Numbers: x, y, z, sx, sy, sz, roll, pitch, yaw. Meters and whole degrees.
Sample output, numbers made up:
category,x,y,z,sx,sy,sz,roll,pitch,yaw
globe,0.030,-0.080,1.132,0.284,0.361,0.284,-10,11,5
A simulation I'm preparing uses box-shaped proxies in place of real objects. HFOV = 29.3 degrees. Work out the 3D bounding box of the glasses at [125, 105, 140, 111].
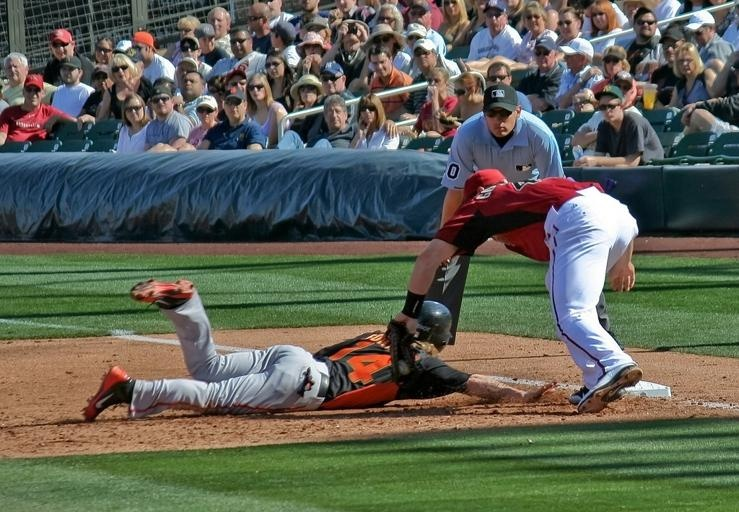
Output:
category,x,y,z,sx,sy,sz,roll,pitch,yaw
glasses,-3.402,-2.106,20.047,0.100,0.089,0.032,-3,17,8

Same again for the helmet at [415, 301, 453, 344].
category,x,y,z,sx,sy,sz,roll,pitch,yaw
helmet,0.492,0.529,11.362,0.278,0.269,0.360,24,15,19

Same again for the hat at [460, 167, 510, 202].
category,x,y,z,sx,sy,sz,roll,pitch,yaw
hat,0.863,-0.553,10.872,0.376,0.223,0.440,-3,4,13

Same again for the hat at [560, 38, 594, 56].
category,x,y,z,sx,sy,sz,roll,pitch,yaw
hat,2.716,-2.751,18.499,0.386,0.189,0.250,9,0,-10

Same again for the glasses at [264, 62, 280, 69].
category,x,y,z,sx,sy,sz,roll,pitch,yaw
glasses,-1.420,-2.680,19.828,0.238,0.093,0.184,3,5,28

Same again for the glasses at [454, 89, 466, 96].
category,x,y,z,sx,sy,sz,roll,pitch,yaw
glasses,1.072,-1.985,17.084,0.135,0.034,0.118,9,5,-5

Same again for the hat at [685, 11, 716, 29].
category,x,y,z,sx,sy,sz,roll,pitch,yaw
hat,4.194,-3.041,18.119,0.469,0.212,0.297,-6,2,-40

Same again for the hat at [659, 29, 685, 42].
category,x,y,z,sx,sy,sz,roll,pitch,yaw
hat,3.842,-2.812,17.881,0.350,0.204,0.226,-1,5,-18

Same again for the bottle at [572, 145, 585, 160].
category,x,y,z,sx,sy,sz,roll,pitch,yaw
bottle,2.489,-1.268,17.115,0.142,0.206,0.115,-10,-10,34

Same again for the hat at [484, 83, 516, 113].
category,x,y,z,sx,sy,sz,roll,pitch,yaw
hat,1.103,-1.347,12.020,0.284,0.231,0.213,0,5,4

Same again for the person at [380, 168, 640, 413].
category,x,y,z,sx,sy,sz,roll,pitch,yaw
person,1.192,0.278,10.742,1.696,1.716,0.528,1,5,8

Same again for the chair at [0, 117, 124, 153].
category,x,y,z,sx,sy,sz,roll,pitch,yaw
chair,-4.735,-1.861,21.750,1.110,0.475,2.007,-4,6,-42

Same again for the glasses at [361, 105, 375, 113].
category,x,y,z,sx,sy,sz,roll,pitch,yaw
glasses,-0.041,-1.892,18.108,0.214,0.070,0.157,-1,5,-14

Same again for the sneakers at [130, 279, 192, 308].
category,x,y,z,sx,sy,sz,roll,pitch,yaw
sneakers,-1.570,0.279,10.578,0.339,0.124,0.253,5,1,-36
